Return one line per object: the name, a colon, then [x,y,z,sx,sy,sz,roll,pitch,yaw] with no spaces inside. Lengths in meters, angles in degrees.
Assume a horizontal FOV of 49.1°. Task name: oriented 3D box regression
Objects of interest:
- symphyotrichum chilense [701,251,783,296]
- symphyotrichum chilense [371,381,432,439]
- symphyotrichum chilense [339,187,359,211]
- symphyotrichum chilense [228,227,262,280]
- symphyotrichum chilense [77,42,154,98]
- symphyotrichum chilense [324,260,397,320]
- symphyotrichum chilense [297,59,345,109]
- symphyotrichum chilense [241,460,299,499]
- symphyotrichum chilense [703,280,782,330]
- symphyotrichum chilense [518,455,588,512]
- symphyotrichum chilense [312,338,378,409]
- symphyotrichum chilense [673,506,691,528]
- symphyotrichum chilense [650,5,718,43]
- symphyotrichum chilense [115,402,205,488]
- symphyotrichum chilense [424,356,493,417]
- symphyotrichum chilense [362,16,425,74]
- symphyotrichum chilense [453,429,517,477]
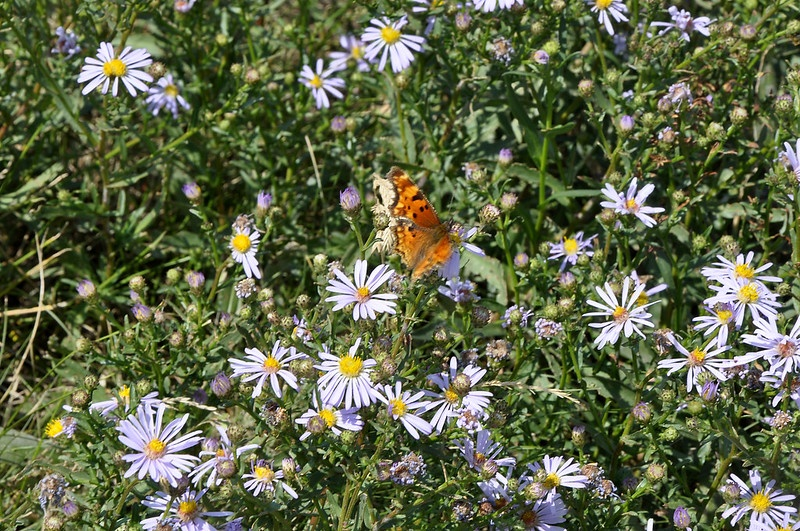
symphyotrichum chilense: [2.078,-0.001,5.443,0.263,0.113,0.330,-5,34,-9]
symphyotrichum chilense: [0.038,0.804,4.946,0.271,0.085,0.345,11,52,-40]
symphyotrichum chilense: [-0.302,-0.409,5.245,0.091,0.127,0.170,-1,91,-7]
symphyotrichum chilense: [-1.017,-0.017,5.711,0.191,0.426,0.358,1,65,-11]
symphyotrichum chilense: [-1.897,-1.310,5.844,0.476,0.258,0.396,-1,68,-16]
symphyotrichum chilense: [-0.221,0.165,5.037,0.403,0.331,0.332,7,64,-11]
symphyotrichum chilense: [-0.594,-1.446,6.603,0.408,0.445,0.142,-4,88,-31]
symphyotrichum chilense: [-0.763,1.247,5.031,0.212,0.083,0.250,27,31,-9]
symphyotrichum chilense: [2.098,0.193,5.269,0.274,0.172,0.374,-5,62,-1]
symphyotrichum chilense: [0.913,1.222,5.124,0.360,0.372,0.239,-8,66,-17]
symphyotrichum chilense: [-0.300,0.649,4.938,0.335,0.281,0.368,-5,68,-16]
symphyotrichum chilense: [1.629,1.457,5.021,0.089,0.031,0.151,-17,97,-30]
symphyotrichum chilense: [1.972,-1.668,5.989,0.335,0.138,0.351,41,49,19]
symphyotrichum chilense: [-1.355,1.010,4.913,0.386,0.165,0.499,-18,75,-30]
symphyotrichum chilense: [0.357,0.702,5.106,0.430,0.349,0.359,0,66,-15]
symphyotrichum chilense: [-0.044,-1.585,5.955,0.412,0.479,0.109,25,76,44]
symphyotrichum chilense: [0.514,1.103,5.046,0.242,0.257,0.125,31,89,-20]
